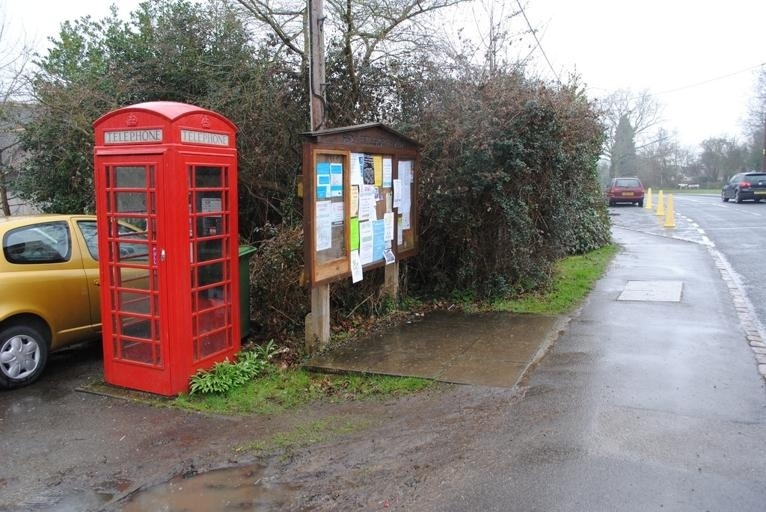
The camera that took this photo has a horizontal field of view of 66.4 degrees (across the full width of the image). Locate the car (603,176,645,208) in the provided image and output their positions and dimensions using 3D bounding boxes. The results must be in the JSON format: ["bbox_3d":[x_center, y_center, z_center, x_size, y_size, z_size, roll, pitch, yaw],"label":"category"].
[{"bbox_3d":[14.414,-3.823,34.793,1.884,1.631,1.385,2,10,19],"label":"car"}]
